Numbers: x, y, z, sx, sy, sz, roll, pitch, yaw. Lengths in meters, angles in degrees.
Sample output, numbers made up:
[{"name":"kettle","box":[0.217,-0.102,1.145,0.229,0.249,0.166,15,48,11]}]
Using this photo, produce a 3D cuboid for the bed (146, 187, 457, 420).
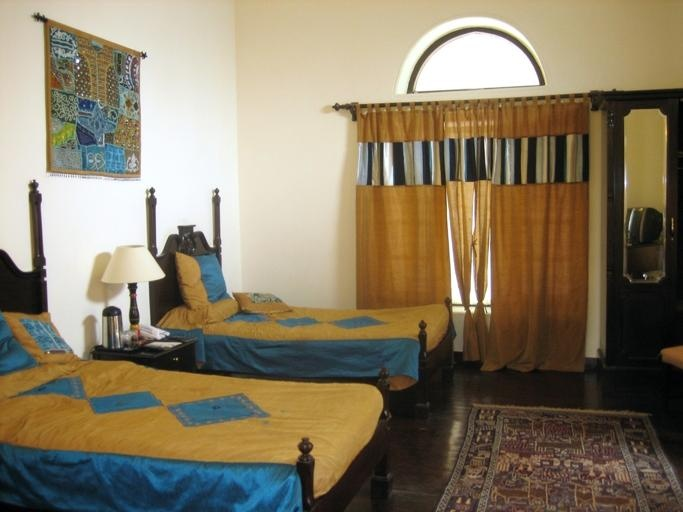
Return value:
[{"name":"bed","box":[-0.263,0.269,6.216,2.630,2.053,1.875,1,8,16]}]

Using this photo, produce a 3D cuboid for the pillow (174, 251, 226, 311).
[{"name":"pillow","box":[-1.412,0.258,6.238,0.248,0.571,0.720,-2,2,18]}]

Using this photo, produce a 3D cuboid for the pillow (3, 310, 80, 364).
[{"name":"pillow","box":[-2.217,0.596,4.404,0.431,0.387,0.373,6,12,24]}]

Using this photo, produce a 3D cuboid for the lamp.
[{"name":"lamp","box":[-1.818,0.326,5.295,0.463,0.819,0.507,11,16,33]}]

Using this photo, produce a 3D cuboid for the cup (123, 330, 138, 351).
[{"name":"cup","box":[-1.764,0.702,5.061,0.126,0.187,0.134,2,3,0]}]

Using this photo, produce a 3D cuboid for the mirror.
[{"name":"mirror","box":[2.912,-0.573,5.790,0.385,1.621,0.321,1,11,2]}]
